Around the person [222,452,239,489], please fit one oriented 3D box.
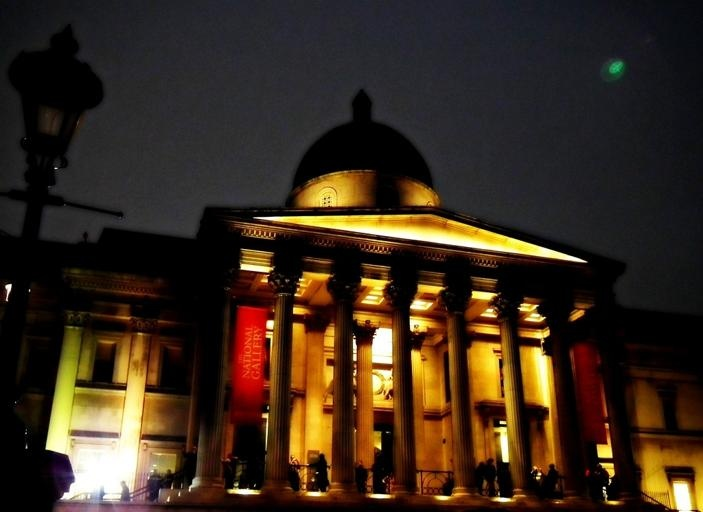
[{"bbox_3d":[-5.128,9.065,26.988,0.498,1.690,1.355,3,-12,-2],"label":"person"}]
